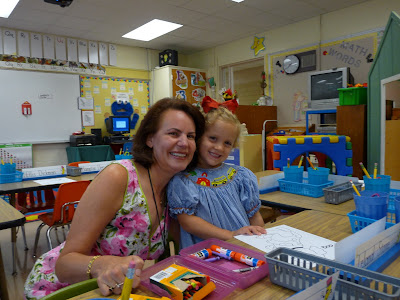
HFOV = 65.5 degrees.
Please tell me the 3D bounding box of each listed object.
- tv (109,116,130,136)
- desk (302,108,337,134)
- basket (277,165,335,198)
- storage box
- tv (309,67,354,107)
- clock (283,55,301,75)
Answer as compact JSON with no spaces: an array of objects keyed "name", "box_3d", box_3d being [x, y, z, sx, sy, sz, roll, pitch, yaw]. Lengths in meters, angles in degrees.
[{"name":"tv","box_3d":[-1.533,-0.469,5.980,0.262,0.413,0.483,0,0,40]},{"name":"desk","box_3d":[1.761,-0.428,4.560,0.384,0.367,1.055,0,5,22]},{"name":"basket","box_3d":[0.689,0.142,2.057,0.264,0.163,0.196,6,12,42]},{"name":"storage box","box_3d":[1.822,-0.205,3.756,0.325,1.090,0.139,0,5,28]},{"name":"tv","box_3d":[1.746,-0.823,4.125,0.360,0.661,0.672,-6,6,-37]},{"name":"clock","box_3d":[1.572,-1.467,5.327,0.049,0.386,0.349,0,3,-42]}]
